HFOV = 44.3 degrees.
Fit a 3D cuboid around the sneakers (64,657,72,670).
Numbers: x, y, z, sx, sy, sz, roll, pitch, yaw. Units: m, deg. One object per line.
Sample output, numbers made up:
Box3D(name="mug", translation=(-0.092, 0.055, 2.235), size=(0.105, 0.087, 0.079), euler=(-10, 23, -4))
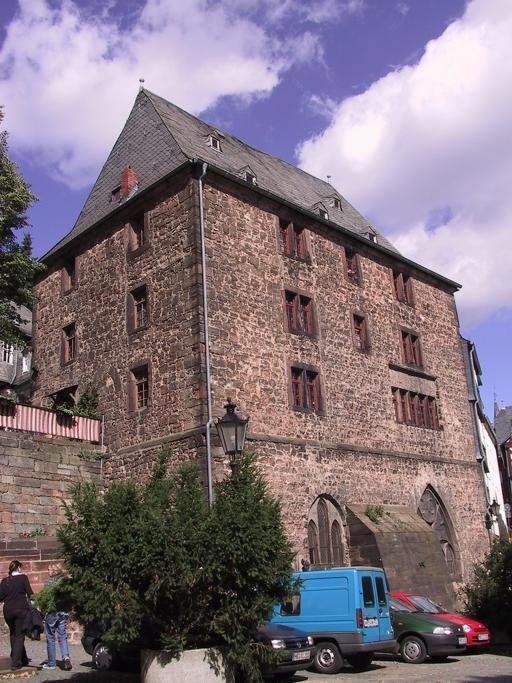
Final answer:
Box3D(name="sneakers", translation=(-2.914, 5.026, 9.788), size=(0.104, 0.119, 0.261), euler=(8, -38, -13))
